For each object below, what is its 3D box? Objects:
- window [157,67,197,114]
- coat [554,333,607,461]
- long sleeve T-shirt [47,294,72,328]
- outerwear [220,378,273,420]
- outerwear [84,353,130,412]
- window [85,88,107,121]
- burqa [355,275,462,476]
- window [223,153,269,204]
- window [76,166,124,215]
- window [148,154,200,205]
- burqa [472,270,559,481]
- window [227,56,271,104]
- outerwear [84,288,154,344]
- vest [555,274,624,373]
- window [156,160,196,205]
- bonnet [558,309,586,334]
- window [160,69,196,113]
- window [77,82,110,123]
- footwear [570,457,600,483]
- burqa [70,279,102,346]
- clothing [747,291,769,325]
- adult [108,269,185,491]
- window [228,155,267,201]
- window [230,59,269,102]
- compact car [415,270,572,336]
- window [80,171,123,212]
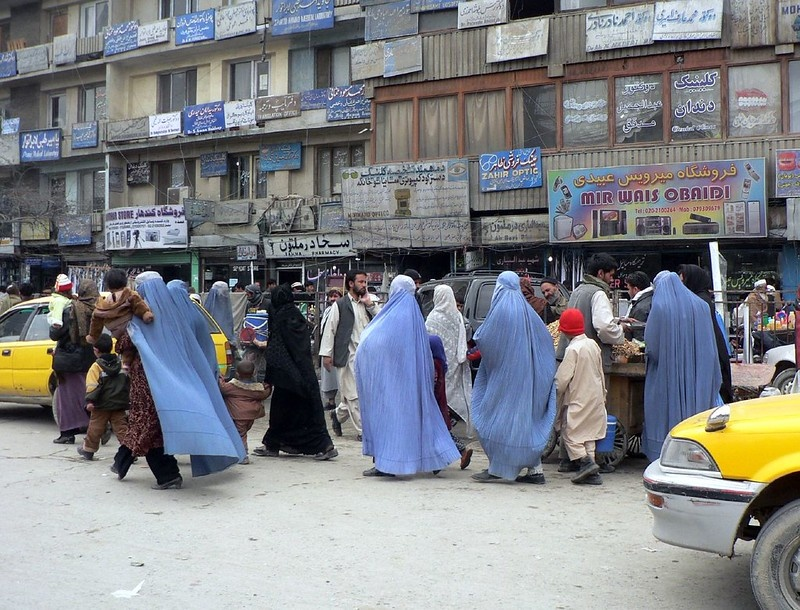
[{"bbox_3d":[-6.544,-6.377,29.498,1.472,1.171,0.119,11,14,40],"label":"window"},{"bbox_3d":[2.034,1.034,11.246,0.487,1.288,0.486,-10,15,-35],"label":"coat"},{"bbox_3d":[-4.552,0.134,13.269,0.155,0.418,0.401,21,9,-34],"label":"long sleeve T-shirt"},{"bbox_3d":[-1.861,1.122,11.992,0.620,0.475,0.380,1,7,-12],"label":"outerwear"},{"bbox_3d":[-3.433,0.923,11.785,0.654,0.713,0.383,-2,6,-29],"label":"outerwear"},{"bbox_3d":[-9.425,-6.257,31.073,1.098,1.240,0.061,7,9,37],"label":"window"},{"bbox_3d":[0.034,0.796,11.454,0.981,2.065,0.963,-6,13,-22],"label":"burqa"},{"bbox_3d":[-4.296,-3.635,28.145,1.357,1.436,0.172,0,-3,22],"label":"window"},{"bbox_3d":[-9.455,-3.687,31.107,1.249,1.315,0.529,-1,5,25],"label":"window"},{"bbox_3d":[-6.604,-3.740,29.405,1.624,1.695,0.172,-2,-3,36],"label":"window"},{"bbox_3d":[1.254,0.780,11.148,0.938,2.118,0.777,1,13,9],"label":"burqa"},{"bbox_3d":[-4.200,-6.320,28.211,1.597,1.306,0.170,8,9,33],"label":"window"},{"bbox_3d":[-3.100,0.127,11.114,0.435,0.581,0.203,-28,0,5],"label":"outerwear"},{"bbox_3d":[2.241,0.217,11.970,0.686,1.220,0.880,2,-1,-7],"label":"vest"},{"bbox_3d":[-6.781,-3.498,29.659,0.149,1.615,1.613,5,11,39],"label":"window"},{"bbox_3d":[1.969,0.182,11.481,0.287,0.285,0.297,1,13,9],"label":"bonnet"},{"bbox_3d":[-6.509,-6.353,29.499,1.381,1.106,0.104,12,15,40],"label":"window"},{"bbox_3d":[-9.480,-6.315,31.029,1.195,1.341,0.121,13,3,27],"label":"window"},{"bbox_3d":[2.065,1.834,11.096,0.156,0.313,0.438,9,-26,-23],"label":"footwear"},{"bbox_3d":[-4.177,0.052,13.085,0.317,0.985,0.416,-8,40,-45],"label":"burqa"},{"bbox_3d":[5.479,0.045,15.362,0.301,0.723,0.214,-18,20,-38],"label":"clothing"},{"bbox_3d":[-2.889,1.092,10.974,0.785,2.343,0.675,2,37,-6],"label":"adult"},{"bbox_3d":[-4.243,-3.605,28.028,1.036,1.063,0.085,21,10,34],"label":"window"},{"bbox_3d":[-4.217,-6.305,28.296,0.133,1.250,1.590,11,17,33],"label":"window"},{"bbox_3d":[1.189,-0.164,15.464,1.862,1.220,1.160,0,-2,10],"label":"compact car"},{"bbox_3d":[-9.129,-3.620,31.017,1.251,1.004,0.093,-9,8,-12],"label":"window"}]
